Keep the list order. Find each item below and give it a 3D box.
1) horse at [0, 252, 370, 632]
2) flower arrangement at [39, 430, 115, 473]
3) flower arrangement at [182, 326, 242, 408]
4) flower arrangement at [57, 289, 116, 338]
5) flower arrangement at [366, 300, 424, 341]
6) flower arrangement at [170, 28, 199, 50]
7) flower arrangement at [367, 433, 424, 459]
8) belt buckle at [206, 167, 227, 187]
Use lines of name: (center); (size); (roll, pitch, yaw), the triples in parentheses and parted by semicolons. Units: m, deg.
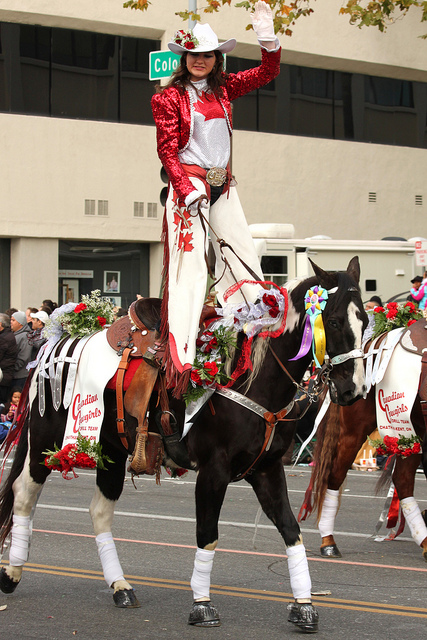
horse: (-0.203, 0.699, 4.656); (2.233, 2.054, 0.607); (4, 6, 28)
flower arrangement: (-0.933, 0.827, 4.890); (0.237, 0.109, 0.253); (37, -3, 18)
flower arrangement: (-0.021, 0.252, 4.475); (0.302, 0.402, 0.302); (-3, 7, -2)
flower arrangement: (-0.842, -0.037, 5.362); (0.368, 0.191, 0.324); (-7, 11, 0)
flower arrangement: (1.591, -0.032, 7.128); (0.419, 0.186, 0.406); (-24, 4, -21)
flower arrangement: (-0.162, -1.623, 4.682); (0.138, 0.067, 0.153); (16, 9, 0)
flower arrangement: (1.512, 1.022, 6.556); (0.316, 0.119, 0.220); (9, -3, -16)
belt buckle: (0.015, -0.839, 4.694); (0.119, 0.102, 0.031); (12, 5, -35)
